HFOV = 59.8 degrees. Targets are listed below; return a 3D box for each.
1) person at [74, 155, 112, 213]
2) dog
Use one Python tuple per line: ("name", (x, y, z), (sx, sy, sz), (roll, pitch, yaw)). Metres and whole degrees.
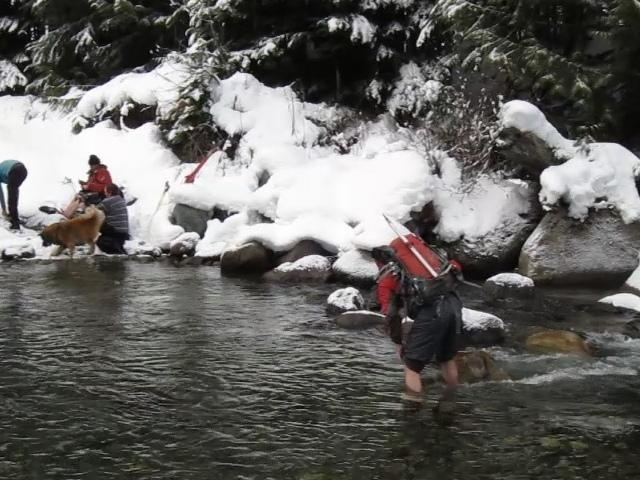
("person", (-6.685, -1.720, 16.447), (0.988, 1.567, 1.251), (-4, 16, -19))
("dog", (-7.042, -0.200, 15.642), (0.678, 1.226, 1.959), (4, 16, 37))
